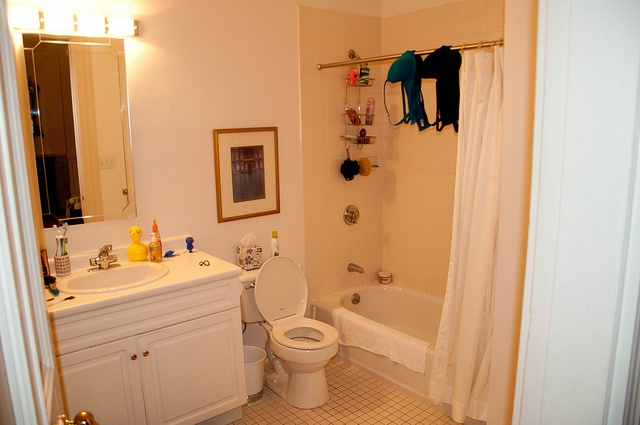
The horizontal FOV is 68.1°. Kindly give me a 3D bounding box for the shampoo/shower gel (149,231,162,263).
[{"bbox_3d":[-1.045,0.212,2.980,0.087,0.180,0.174,-10,14,-20],"label":"shampoo/shower gel"}]

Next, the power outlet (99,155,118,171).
[{"bbox_3d":[-1.302,-0.305,2.886,0.094,0.068,0.013,-6,8,-43],"label":"power outlet"}]

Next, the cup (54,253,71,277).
[{"bbox_3d":[-1.492,0.311,2.778,0.107,0.152,0.107,1,2,0],"label":"cup"}]

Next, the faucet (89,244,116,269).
[{"bbox_3d":[-1.314,0.268,2.839,0.128,0.121,0.068,-6,9,-43],"label":"faucet"}]

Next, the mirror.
[{"bbox_3d":[-1.388,-0.470,2.784,0.614,1.099,0.050,-14,16,-35],"label":"mirror"}]

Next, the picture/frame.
[{"bbox_3d":[-0.558,-0.285,3.463,0.610,0.750,0.049,-12,20,-40],"label":"picture/frame"}]

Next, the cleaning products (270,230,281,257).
[{"bbox_3d":[-0.345,0.235,3.608,0.074,0.212,0.225,-6,13,-6],"label":"cleaning products"}]

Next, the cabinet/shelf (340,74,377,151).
[{"bbox_3d":[0.354,-0.861,4.018,0.179,0.664,0.382,8,18,41],"label":"cabinet/shelf"}]

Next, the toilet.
[{"bbox_3d":[-0.155,0.818,3.267,0.481,0.984,0.532,-10,14,-20],"label":"toilet"}]

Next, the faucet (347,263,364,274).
[{"bbox_3d":[0.311,0.492,4.156,0.077,0.060,0.128,-5,9,-37],"label":"faucet"}]
